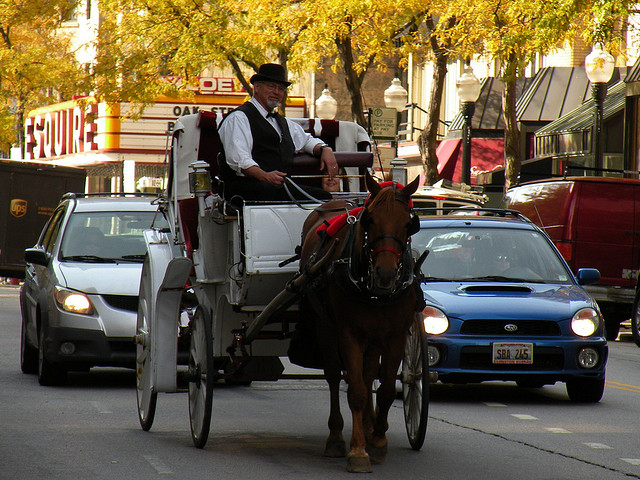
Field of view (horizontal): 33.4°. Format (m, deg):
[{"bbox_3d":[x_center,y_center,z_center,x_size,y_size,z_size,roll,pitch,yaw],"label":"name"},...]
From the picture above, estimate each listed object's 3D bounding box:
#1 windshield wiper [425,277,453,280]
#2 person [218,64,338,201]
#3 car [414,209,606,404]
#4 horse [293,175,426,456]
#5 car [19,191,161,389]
[{"bbox_3d":[1.507,0.471,13.335,0.312,0.018,0.048,2,0,5],"label":"windshield wiper"},{"bbox_3d":[-0.395,-0.926,10.986,1.160,1.778,1.086,2,0,-39],"label":"person"},{"bbox_3d":[2.276,0.807,13.880,1.879,1.595,2.910,1,-8,-3],"label":"car"},{"bbox_3d":[0.402,0.818,10.350,1.106,2.565,3.927,1,-5,-4],"label":"horse"},{"bbox_3d":[-2.989,0.567,15.686,2.398,2.583,4.805,1,1,-19],"label":"car"}]
